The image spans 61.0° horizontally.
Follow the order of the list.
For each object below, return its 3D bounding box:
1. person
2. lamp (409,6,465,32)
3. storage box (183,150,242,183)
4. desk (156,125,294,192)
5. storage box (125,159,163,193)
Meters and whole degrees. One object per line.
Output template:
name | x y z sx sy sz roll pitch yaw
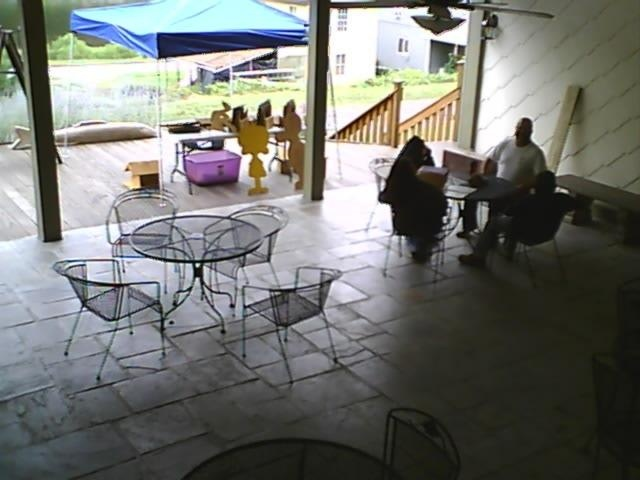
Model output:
person | 2.090 -0.494 6.647 1.278 0.511 1.853 -28 44 -27
lamp | 0.960 -1.751 4.340 0.435 0.205 0.288 0 20 -3
storage box | -1.776 -1.195 9.000 0.846 0.385 0.586 -9 18 -32
desk | -1.565 -1.325 8.933 1.389 0.635 0.822 -11 29 -24
storage box | -2.705 -0.968 8.346 0.655 0.420 0.627 -7 30 -24
